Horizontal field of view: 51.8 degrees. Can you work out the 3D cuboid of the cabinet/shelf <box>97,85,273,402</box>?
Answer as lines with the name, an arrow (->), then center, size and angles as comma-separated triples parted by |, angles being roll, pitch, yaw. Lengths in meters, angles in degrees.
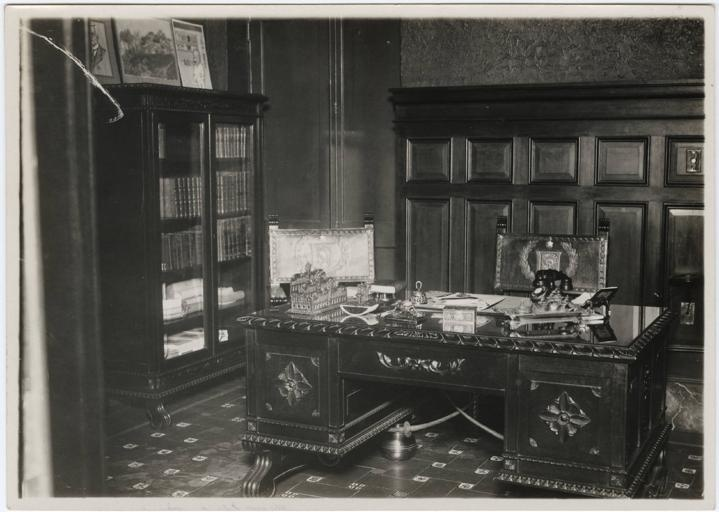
cabinet/shelf -> -1.358, -0.153, 5.641 | 0.535, 2.214, 1.356 | 6, 12, 30

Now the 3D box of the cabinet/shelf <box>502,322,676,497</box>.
cabinet/shelf -> 1.258, 0.733, 4.101 | 0.753, 0.754, 1.248 | 0, 1, 25

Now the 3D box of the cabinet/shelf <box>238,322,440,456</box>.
cabinet/shelf -> -0.107, 0.841, 4.789 | 0.624, 0.774, 1.211 | -2, -7, 27
